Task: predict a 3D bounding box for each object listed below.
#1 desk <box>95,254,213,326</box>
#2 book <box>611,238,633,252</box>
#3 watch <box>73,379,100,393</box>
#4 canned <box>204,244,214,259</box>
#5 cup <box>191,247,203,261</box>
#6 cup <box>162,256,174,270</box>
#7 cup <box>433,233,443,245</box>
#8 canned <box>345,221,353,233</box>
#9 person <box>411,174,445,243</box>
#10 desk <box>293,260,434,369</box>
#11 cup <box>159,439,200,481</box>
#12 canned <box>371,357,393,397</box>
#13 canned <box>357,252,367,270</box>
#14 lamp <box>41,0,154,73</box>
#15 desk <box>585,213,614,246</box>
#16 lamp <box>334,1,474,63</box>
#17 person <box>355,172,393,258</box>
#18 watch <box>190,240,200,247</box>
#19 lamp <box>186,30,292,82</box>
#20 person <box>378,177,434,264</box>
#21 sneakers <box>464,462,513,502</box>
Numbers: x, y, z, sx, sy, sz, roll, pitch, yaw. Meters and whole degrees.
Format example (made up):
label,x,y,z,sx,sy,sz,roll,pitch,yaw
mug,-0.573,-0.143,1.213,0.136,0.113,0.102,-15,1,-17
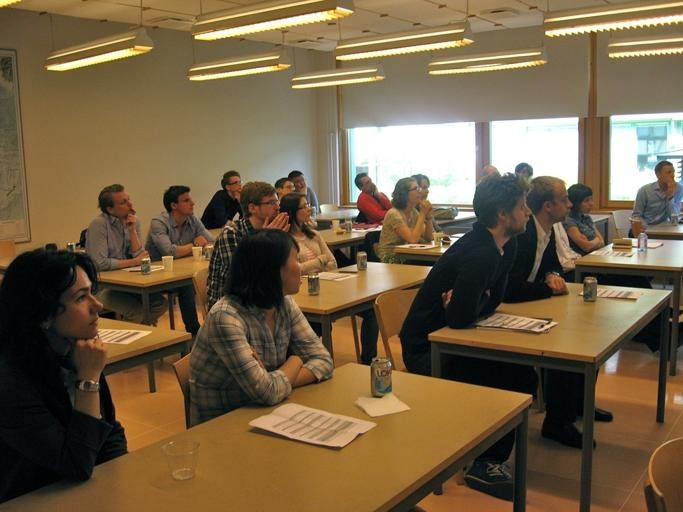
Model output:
label,x,y,z,sx,sy,sz,roll,pitch,yaw
desk,-1.642,0.358,4.384,0.635,0.353,0.492,-10,-14,40
book,2.597,-0.090,4.941,0.144,0.053,0.154,0,27,30
watch,-0.776,0.396,1.635,0.046,0.036,0.044,6,-10,-17
canned,-1.187,-0.035,4.748,0.117,0.156,0.153,1,4,-10
cup,-1.349,-0.023,4.973,0.094,0.117,0.099,1,5,0
cup,-1.485,0.061,4.596,0.099,0.119,0.104,1,5,0
cup,0.991,-0.167,5.504,0.100,0.143,0.117,1,5,30
canned,0.106,-0.356,6.684,0.106,0.218,0.118,2,3,9
person,1.057,-0.783,6.850,0.260,0.326,0.873,-10,-37,-9
desk,0.138,0.344,3.337,0.322,0.430,0.824,4,11,25
cup,-0.474,0.595,1.586,0.092,0.093,0.107,-5,11,-21
canned,0.156,0.450,2.042,0.087,0.143,0.085,0,20,9
canned,0.161,0.042,4.376,0.106,0.217,0.118,0,4,2
lamp,-2.373,-1.972,5.194,1.709,0.200,0.258,7,13,40
desk,3.147,-0.319,6.516,0.174,0.425,0.433,3,8,31
lamp,0.599,-2.103,5.293,1.358,0.209,0.373,2,11,18
person,0.549,-0.524,7.722,0.619,1.324,0.523,-5,4,31
watch,-1.453,-0.117,5.290,0.060,0.074,0.062,1,5,16
lamp,-1.481,-2.778,7.399,1.611,0.358,0.329,0,-9,34
person,0.673,-0.321,5.656,0.605,0.998,0.638,-3,13,-19
sneakers,0.788,1.099,2.675,0.126,0.155,0.372,13,-14,-31
